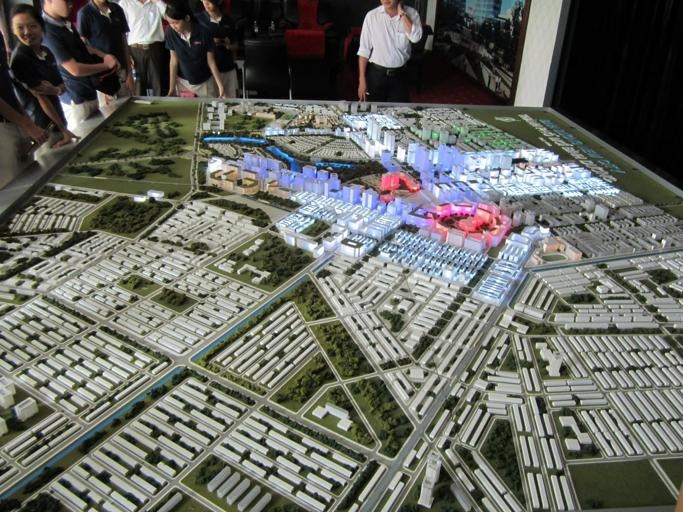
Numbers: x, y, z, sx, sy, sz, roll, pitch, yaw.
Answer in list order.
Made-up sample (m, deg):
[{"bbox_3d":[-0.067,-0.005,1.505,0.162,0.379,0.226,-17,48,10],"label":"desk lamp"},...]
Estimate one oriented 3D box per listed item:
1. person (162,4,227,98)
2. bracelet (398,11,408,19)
[{"bbox_3d":[-3.022,-4.008,8.658,1.049,1.896,0.909,-10,40,-15],"label":"person"},{"bbox_3d":[1.233,-4.835,8.750,0.181,0.128,0.156,-8,32,-3],"label":"bracelet"}]
